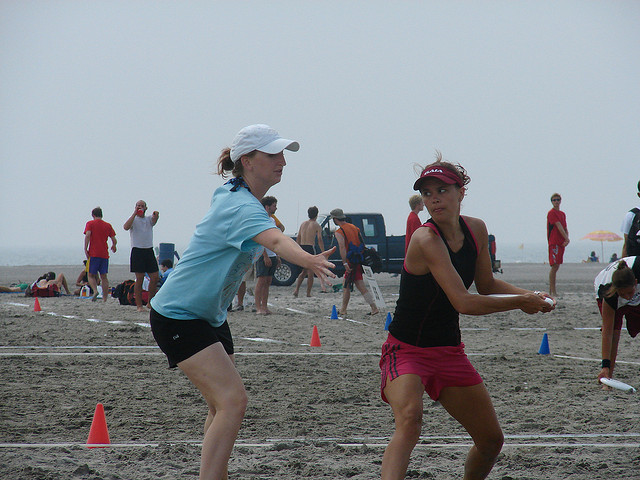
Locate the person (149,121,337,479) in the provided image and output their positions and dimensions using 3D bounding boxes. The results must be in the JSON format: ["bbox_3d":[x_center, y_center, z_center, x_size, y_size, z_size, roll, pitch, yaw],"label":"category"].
[{"bbox_3d":[-0.689,0.503,7.072,1.405,2.836,0.660,-1,0,16],"label":"person"}]

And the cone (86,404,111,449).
[{"bbox_3d":[-2.112,1.737,8.268,0.221,0.418,0.179,-1,0,-21],"label":"cone"}]

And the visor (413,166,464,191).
[{"bbox_3d":[0.995,-0.525,7.273,0.414,0.182,0.204,-1,0,1],"label":"visor"}]

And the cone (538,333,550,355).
[{"bbox_3d":[3.015,1.380,11.702,0.147,0.245,0.292,-1,0,15],"label":"cone"}]

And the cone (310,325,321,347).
[{"bbox_3d":[-0.067,1.339,12.289,0.150,0.287,0.450,-1,0,-1],"label":"cone"}]

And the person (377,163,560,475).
[{"bbox_3d":[1.098,0.640,7.187,1.236,2.354,0.725,-1,0,0],"label":"person"}]

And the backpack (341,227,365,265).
[{"bbox_3d":[0.586,0.128,15.363,0.402,0.593,0.209,-1,0,16],"label":"backpack"}]

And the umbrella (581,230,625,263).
[{"bbox_3d":[14.860,0.132,45.810,1.711,1.691,1.789,3,14,22],"label":"umbrella"}]

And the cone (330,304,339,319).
[{"bbox_3d":[0.247,1.239,14.983,0.163,0.236,0.169,0,8,-1],"label":"cone"}]

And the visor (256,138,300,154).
[{"bbox_3d":[-0.315,-0.773,7.147,0.363,0.121,0.175,-1,0,-30],"label":"visor"}]

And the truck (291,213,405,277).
[{"bbox_3d":[0.681,0.423,23.619,2.329,2.271,4.561,-9,0,-8],"label":"truck"}]

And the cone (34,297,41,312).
[{"bbox_3d":[-5.178,1.175,15.915,0.110,0.258,0.546,-1,0,-18],"label":"cone"}]

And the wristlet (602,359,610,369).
[{"bbox_3d":[3.267,1.405,9.904,0.087,0.099,0.089,3,3,41],"label":"wristlet"}]

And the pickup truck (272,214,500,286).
[{"bbox_3d":[0.637,0.221,22.069,2.425,1.712,3.543,-1,0,39],"label":"pickup truck"}]
